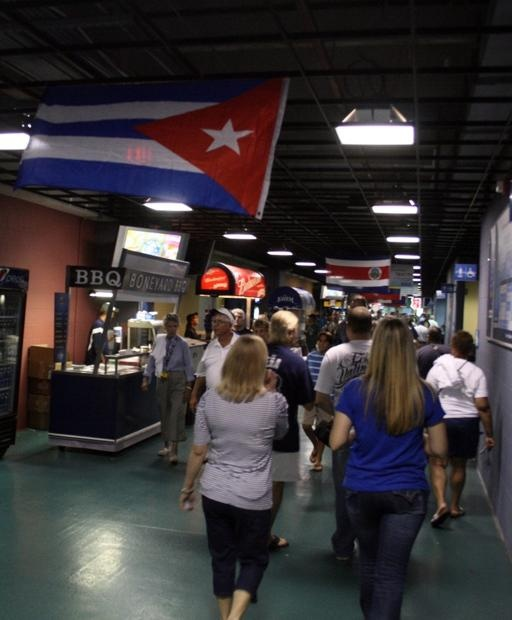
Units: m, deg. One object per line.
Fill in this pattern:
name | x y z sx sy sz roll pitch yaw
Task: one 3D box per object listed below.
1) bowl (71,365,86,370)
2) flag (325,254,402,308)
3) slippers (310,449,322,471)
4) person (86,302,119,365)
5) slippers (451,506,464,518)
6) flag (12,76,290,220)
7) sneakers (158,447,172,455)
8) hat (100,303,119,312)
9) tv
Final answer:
bowl | -2.492 0.798 6.429 0.133 0.041 0.120 2 -3 22
flag | 4.029 -1.174 17.129 2.573 1.809 0.174 3 -10 6
slippers | 0.742 1.866 5.657 0.090 0.113 0.290 13 8 5
person | -2.477 0.393 7.386 0.384 1.166 0.573 -5 44 -21
slippers | 1.856 1.840 4.221 0.074 0.082 0.209 7 6 32
flag | -0.951 -1.358 3.779 2.201 1.277 0.168 4 -19 19
sneakers | -1.237 1.893 6.193 0.071 0.086 0.209 -3 -14 18
hat | -2.328 -0.043 7.299 0.229 0.118 0.164 -15 -5 20
tv | -1.923 -1.134 8.195 1.471 0.960 0.140 10 -7 -42
